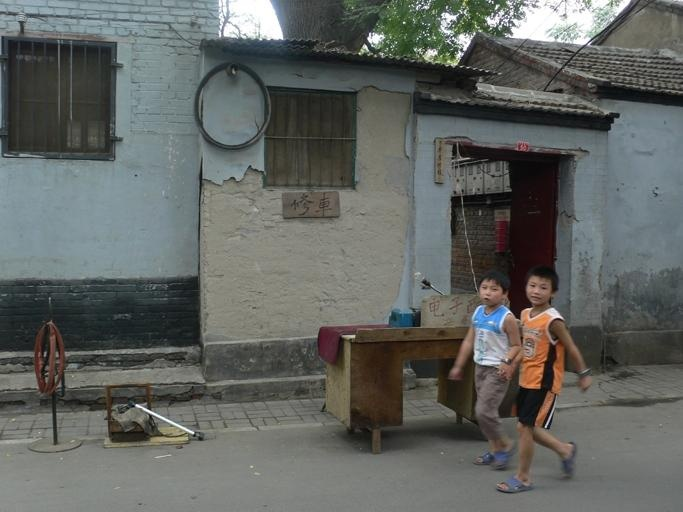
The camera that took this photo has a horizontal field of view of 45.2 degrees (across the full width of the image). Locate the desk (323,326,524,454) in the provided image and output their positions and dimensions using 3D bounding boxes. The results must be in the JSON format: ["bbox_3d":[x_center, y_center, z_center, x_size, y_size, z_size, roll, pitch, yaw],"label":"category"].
[{"bbox_3d":[0.816,1.639,10.549,2.477,1.674,1.380,5,-1,-34],"label":"desk"}]

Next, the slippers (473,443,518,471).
[{"bbox_3d":[1.732,2.239,9.212,0.441,0.183,0.212,1,-3,0],"label":"slippers"}]

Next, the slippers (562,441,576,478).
[{"bbox_3d":[2.504,2.217,8.944,0.172,0.429,0.145,2,-2,-13],"label":"slippers"}]

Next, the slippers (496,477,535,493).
[{"bbox_3d":[1.842,2.403,8.700,0.287,0.105,0.160,0,-6,-2],"label":"slippers"}]

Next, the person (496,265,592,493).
[{"bbox_3d":[2.183,1.277,8.796,0.881,2.363,0.711,2,5,18],"label":"person"}]
